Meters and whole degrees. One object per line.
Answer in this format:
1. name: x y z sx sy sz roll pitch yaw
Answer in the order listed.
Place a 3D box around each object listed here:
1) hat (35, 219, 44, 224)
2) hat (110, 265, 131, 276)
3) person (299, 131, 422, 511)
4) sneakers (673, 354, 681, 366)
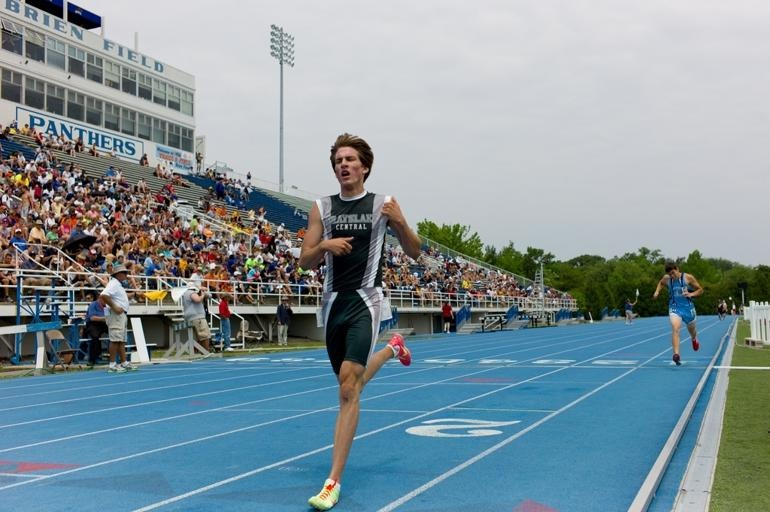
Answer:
1. hat: -9.802 -0.976 21.772 0.189 0.197 0.397 1 -5 -29
2. hat: -5.992 0.325 17.409 0.631 0.182 0.632 0 -4 -13
3. person: -0.322 0.693 9.127 1.329 4.304 0.948 -1 -4 -9
4. sneakers: 6.346 2.265 16.681 0.117 0.358 0.153 -10 26 32
